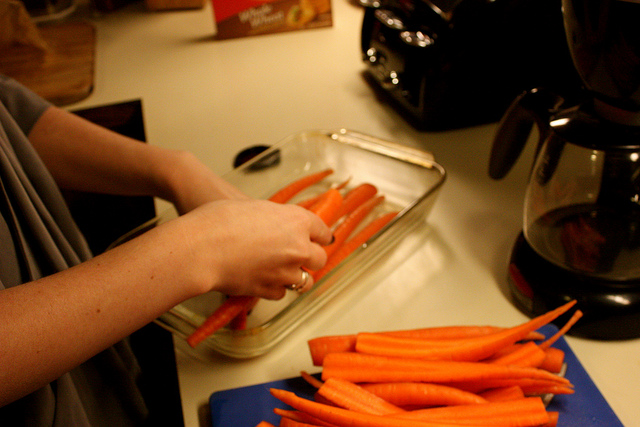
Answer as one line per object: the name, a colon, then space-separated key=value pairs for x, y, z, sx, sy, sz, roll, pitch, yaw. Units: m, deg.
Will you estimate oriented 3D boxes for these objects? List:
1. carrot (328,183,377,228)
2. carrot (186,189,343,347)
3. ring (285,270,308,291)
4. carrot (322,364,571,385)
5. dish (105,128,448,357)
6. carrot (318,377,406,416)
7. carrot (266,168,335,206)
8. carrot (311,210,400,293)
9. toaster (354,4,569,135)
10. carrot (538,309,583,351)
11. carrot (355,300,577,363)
carrot: x=0.093 y=-0.040 z=1.363 sx=0.054 sy=0.072 sz=0.263 roll=-21 pitch=12 yaw=-16
carrot: x=-0.106 y=0.119 z=1.145 sx=0.051 sy=0.103 sz=0.455 roll=32 pitch=60 yaw=28
ring: x=-0.053 y=0.144 z=1.088 sx=0.035 sy=0.014 sz=0.039 roll=-10 pitch=48 yaw=35
carrot: x=0.256 y=0.311 z=1.021 sx=0.179 sy=0.019 sz=0.033 roll=-4 pitch=6 yaw=9
dish: x=-0.008 y=-0.007 z=1.223 sx=0.460 sy=0.148 sz=0.833 roll=22 pitch=48 yaw=38
carrot: x=0.067 y=0.352 z=1.001 sx=0.168 sy=0.019 sz=0.061 roll=19 pitch=54 yaw=1
carrot: x=-0.051 y=-0.064 z=1.328 sx=0.143 sy=0.026 sz=0.025 roll=-35 pitch=54 yaw=-20
carrot: x=0.079 y=0.093 z=1.188 sx=0.253 sy=0.035 sz=0.034 roll=-45 pitch=23 yaw=-26
toaster: x=0.362 y=-0.372 z=1.433 sx=0.399 sy=0.326 sz=0.389 roll=-13 pitch=40 yaw=-11
carrot: x=0.474 y=0.232 z=1.038 sx=0.065 sy=0.085 sz=0.075 roll=4 pitch=18 yaw=-6
carrot: x=0.311 y=0.246 z=1.082 sx=0.377 sy=0.061 sz=0.057 roll=-8 pitch=24 yaw=17
